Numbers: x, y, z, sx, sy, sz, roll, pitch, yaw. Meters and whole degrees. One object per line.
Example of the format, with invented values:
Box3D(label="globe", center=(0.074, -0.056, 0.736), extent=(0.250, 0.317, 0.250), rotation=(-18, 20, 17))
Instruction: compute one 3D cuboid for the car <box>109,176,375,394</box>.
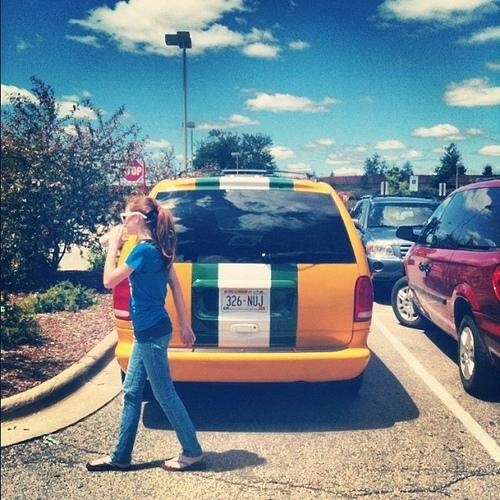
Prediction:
Box3D(label="car", center=(0.138, 0.159, 4.083), extent=(1.341, 1.012, 2.154), rotation=(0, 7, 2))

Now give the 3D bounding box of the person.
Box3D(label="person", center=(-0.639, 0.540, 2.996), extent=(0.693, 1.759, 0.390), rotation=(0, 6, -19))

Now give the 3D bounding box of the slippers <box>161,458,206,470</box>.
Box3D(label="slippers", center=(-0.427, 1.368, 3.019), extent=(0.234, 0.058, 0.088), rotation=(4, 1, -8))

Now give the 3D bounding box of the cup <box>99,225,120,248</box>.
Box3D(label="cup", center=(-0.859, -0.082, 2.935), extent=(0.112, 0.129, 0.238), rotation=(0, 6, -16))
